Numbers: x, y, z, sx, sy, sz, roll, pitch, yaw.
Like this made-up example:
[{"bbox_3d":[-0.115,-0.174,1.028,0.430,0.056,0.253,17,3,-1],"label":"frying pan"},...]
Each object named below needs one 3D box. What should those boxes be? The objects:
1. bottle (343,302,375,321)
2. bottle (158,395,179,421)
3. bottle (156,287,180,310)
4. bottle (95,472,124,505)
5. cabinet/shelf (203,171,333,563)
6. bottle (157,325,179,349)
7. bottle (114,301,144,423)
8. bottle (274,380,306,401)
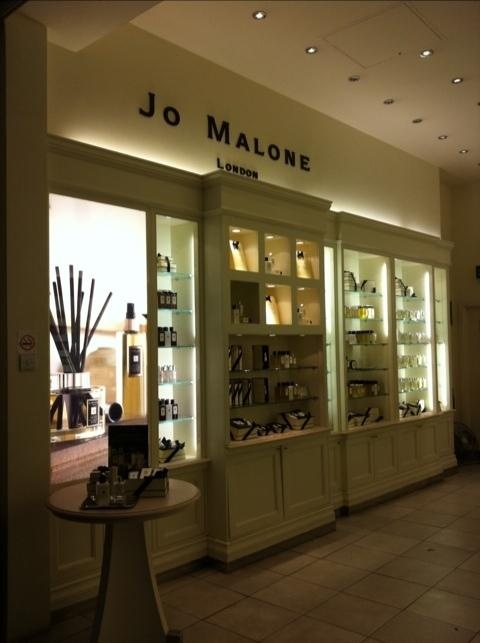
[{"bbox_3d":[1.313,-0.089,5.635,0.274,0.115,0.209,-5,-7,43],"label":"bottle"},{"bbox_3d":[-0.529,0.646,3.740,0.060,0.184,0.197,-1,-6,21],"label":"bottle"},{"bbox_3d":[-0.538,-0.164,3.769,0.048,0.123,0.161,-3,-4,28],"label":"bottle"},{"bbox_3d":[-0.564,0.745,2.250,0.084,0.154,0.131,-1,-7,13],"label":"bottle"},{"bbox_3d":[0.219,0.332,4.235,0.492,2.920,1.435,-5,-7,41],"label":"cabinet/shelf"},{"bbox_3d":[-0.536,0.122,3.754,0.049,0.157,0.164,-3,-4,28],"label":"bottle"},{"bbox_3d":[-0.717,0.266,3.392,0.032,0.775,0.258,-4,-7,38],"label":"bottle"},{"bbox_3d":[0.470,0.710,4.697,0.123,0.277,0.274,-3,-3,41],"label":"bottle"}]
